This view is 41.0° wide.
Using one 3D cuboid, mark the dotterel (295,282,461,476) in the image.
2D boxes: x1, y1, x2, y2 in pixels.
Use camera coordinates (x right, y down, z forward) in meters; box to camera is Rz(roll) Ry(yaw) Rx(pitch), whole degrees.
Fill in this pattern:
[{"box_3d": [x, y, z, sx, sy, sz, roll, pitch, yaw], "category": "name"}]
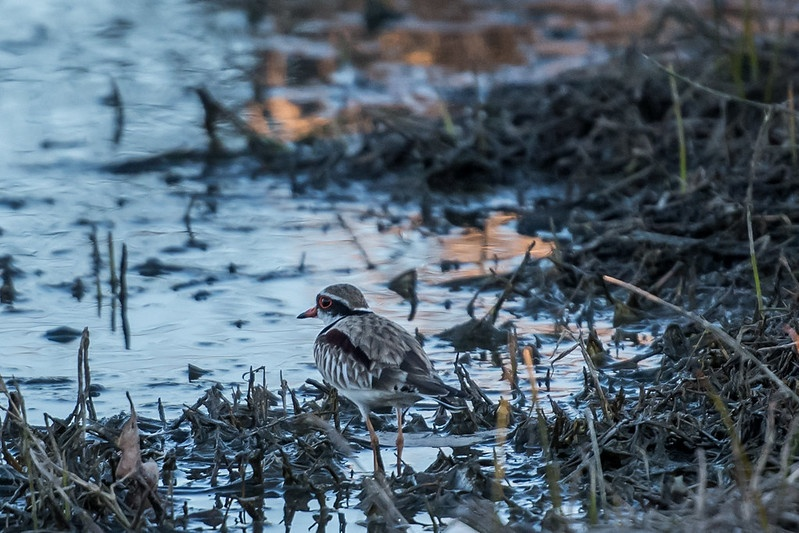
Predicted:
[{"box_3d": [-0.143, 0.686, 7.134, 0.767, 1.243, 1.198, -6, -4, -16], "category": "dotterel"}]
